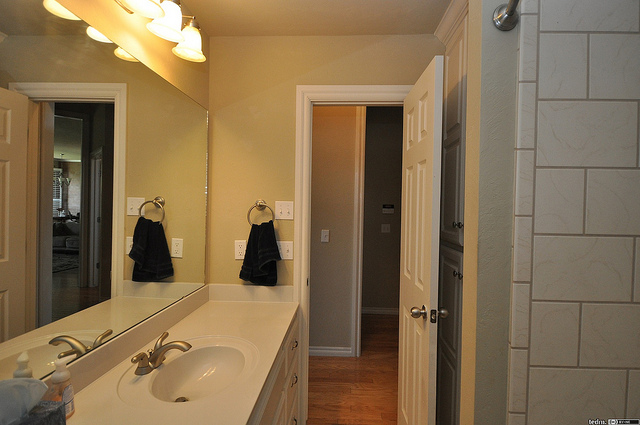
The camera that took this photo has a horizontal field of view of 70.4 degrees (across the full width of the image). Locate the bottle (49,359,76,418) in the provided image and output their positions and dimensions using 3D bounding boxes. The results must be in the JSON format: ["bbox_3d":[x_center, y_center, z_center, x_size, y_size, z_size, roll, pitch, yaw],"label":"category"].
[{"bbox_3d":[-0.996,0.651,1.742,0.073,0.233,0.160,-8,14,-31],"label":"bottle"}]

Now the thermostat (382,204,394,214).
[{"bbox_3d":[0.741,-0.039,4.987,0.102,0.097,0.024,-1,5,13],"label":"thermostat"}]

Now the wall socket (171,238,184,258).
[{"bbox_3d":[-0.797,0.193,2.509,0.012,0.136,0.101,3,-3,23],"label":"wall socket"}]

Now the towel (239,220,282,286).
[{"bbox_3d":[-0.377,0.262,2.809,0.251,0.403,0.124,-2,12,-5],"label":"towel"}]

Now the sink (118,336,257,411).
[{"bbox_3d":[-0.575,0.735,2.111,0.313,0.096,0.354,4,12,18],"label":"sink"}]

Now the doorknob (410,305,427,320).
[{"bbox_3d":[0.504,0.510,2.324,0.075,0.066,0.061,3,-10,-19],"label":"doorknob"}]

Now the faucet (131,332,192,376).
[{"bbox_3d":[-0.705,0.638,1.997,0.207,0.125,0.195,9,16,39],"label":"faucet"}]
